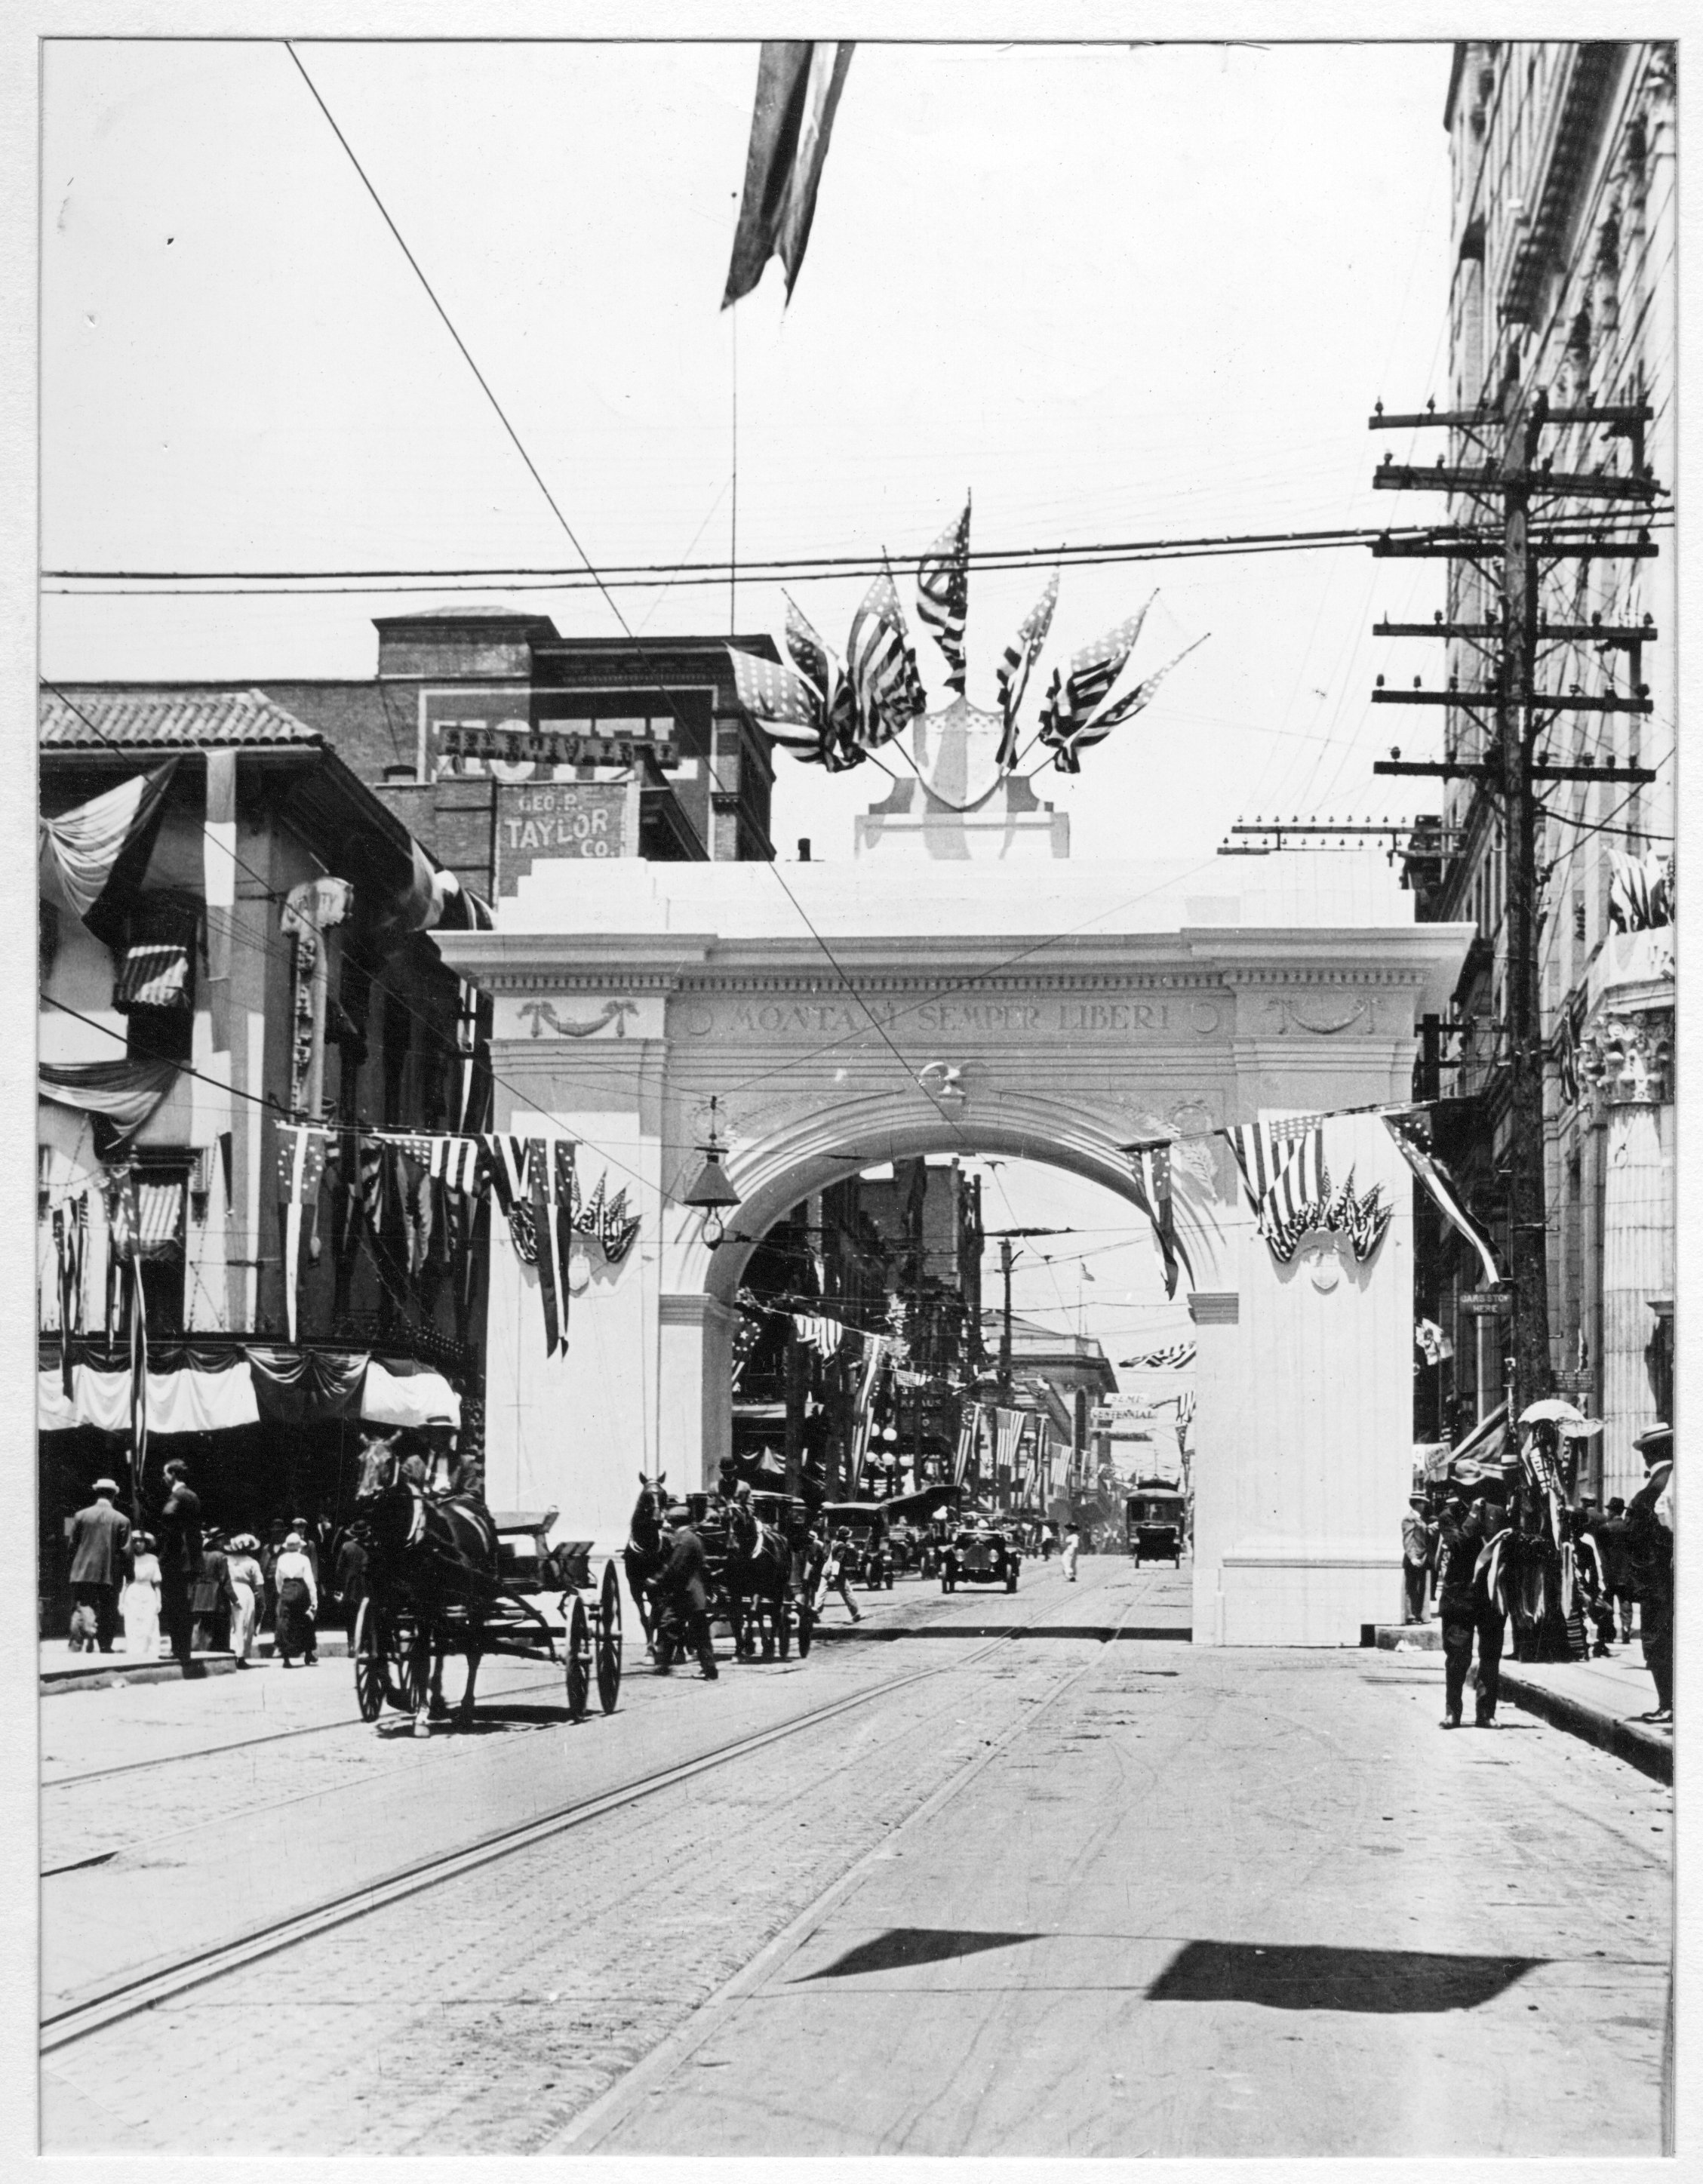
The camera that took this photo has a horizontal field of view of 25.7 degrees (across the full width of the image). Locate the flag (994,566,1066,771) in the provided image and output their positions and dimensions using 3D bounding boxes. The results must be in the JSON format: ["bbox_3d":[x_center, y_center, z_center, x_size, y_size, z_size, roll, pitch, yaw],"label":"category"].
[{"bbox_3d":[1.679,-3.998,36.067,0.486,2.547,0.099,-6,-35,27],"label":"flag"}]

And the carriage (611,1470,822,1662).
[{"bbox_3d":[-1.320,4.215,32.149,2.054,2.109,1.014,-2,-4,17],"label":"carriage"}]

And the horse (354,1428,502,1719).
[{"bbox_3d":[-2.793,3.308,24.620,0.895,1.841,1.864,0,-8,-8],"label":"horse"}]

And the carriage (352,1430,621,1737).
[{"bbox_3d":[-2.603,3.414,25.238,1.893,2.164,1.227,1,-5,-8],"label":"carriage"}]

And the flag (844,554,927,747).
[{"bbox_3d":[0.296,-4.101,35.483,0.607,2.321,0.188,0,-35,4],"label":"flag"}]

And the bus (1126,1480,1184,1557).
[{"bbox_3d":[6.872,9.679,84.452,0.796,1.310,1.751,0,-12,4],"label":"bus"}]
